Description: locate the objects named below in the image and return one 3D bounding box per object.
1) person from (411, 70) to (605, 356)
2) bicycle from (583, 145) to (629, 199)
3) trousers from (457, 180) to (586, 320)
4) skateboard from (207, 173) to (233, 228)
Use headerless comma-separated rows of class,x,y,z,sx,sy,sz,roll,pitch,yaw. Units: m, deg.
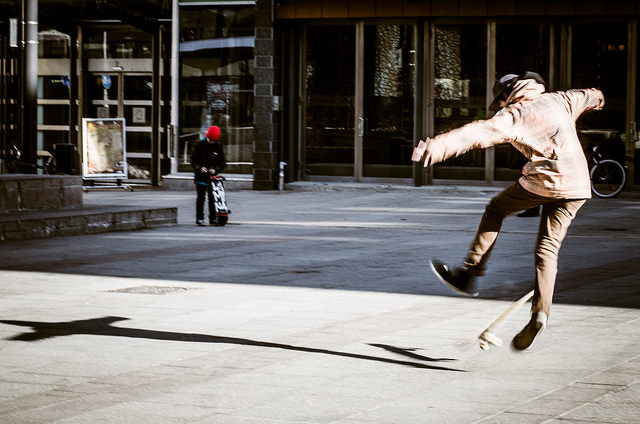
person,1.579,-0.019,6.397,1.409,2.222,0.902,-1,8,7
bicycle,6.735,-0.967,18.702,0.865,1.247,1.070,0,7,15
trousers,1.661,0.256,6.492,0.566,1.038,0.789,-8,9,-36
skateboard,-1.821,-0.290,14.234,0.453,1.135,0.180,-4,-42,-18
